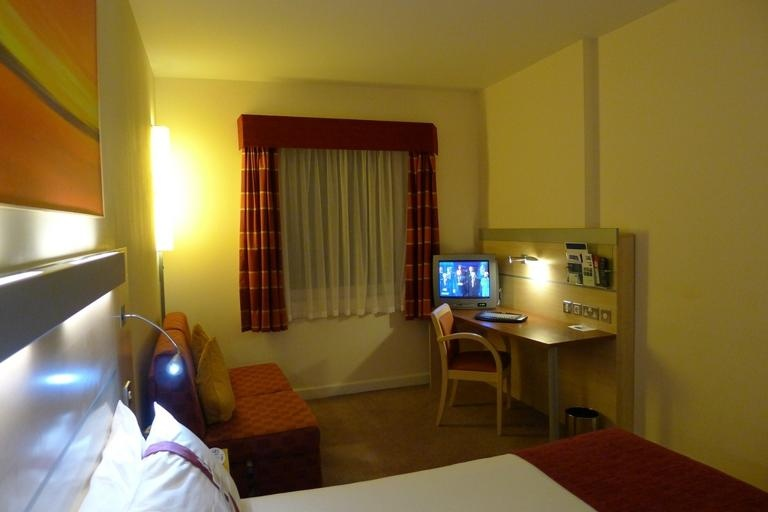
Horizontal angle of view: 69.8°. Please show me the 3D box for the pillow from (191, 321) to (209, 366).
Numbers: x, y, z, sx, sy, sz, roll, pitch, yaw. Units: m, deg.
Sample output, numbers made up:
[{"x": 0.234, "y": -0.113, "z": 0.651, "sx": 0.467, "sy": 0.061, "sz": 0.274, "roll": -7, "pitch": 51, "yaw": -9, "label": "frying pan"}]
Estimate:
[{"x": -1.400, "y": 0.647, "z": 4.171, "sx": 0.083, "sy": 0.281, "sz": 0.282, "roll": 0, "pitch": 30, "yaw": -16, "label": "pillow"}]

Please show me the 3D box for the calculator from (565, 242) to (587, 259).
[{"x": 1.601, "y": -0.046, "z": 4.615, "sx": 0.113, "sy": 0.155, "sz": 0.213, "roll": -4, "pitch": 7, "yaw": -14, "label": "calculator"}]

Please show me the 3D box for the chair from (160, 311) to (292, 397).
[{"x": -1.294, "y": 0.836, "z": 4.526, "sx": 0.697, "sy": 0.698, "sz": 0.974, "roll": -6, "pitch": 6, "yaw": -14, "label": "chair"}]

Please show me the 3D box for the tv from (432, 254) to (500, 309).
[{"x": 0.842, "y": 0.248, "z": 5.742, "sx": 0.833, "sy": 0.732, "sz": 0.469, "roll": -1, "pitch": -1, "yaw": 9, "label": "tv"}]

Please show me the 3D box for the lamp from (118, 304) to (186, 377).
[{"x": -1.506, "y": 0.562, "z": 3.578, "sx": 0.431, "sy": 0.698, "sz": 0.147, "roll": -1, "pitch": 36, "yaw": -11, "label": "lamp"}]

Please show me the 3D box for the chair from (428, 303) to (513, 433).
[{"x": 0.820, "y": 1.004, "z": 5.013, "sx": 0.670, "sy": 1.014, "sz": 0.639, "roll": -1, "pitch": 4, "yaw": 14, "label": "chair"}]

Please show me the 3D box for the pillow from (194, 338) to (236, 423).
[{"x": -1.209, "y": 0.898, "z": 3.912, "sx": 0.160, "sy": 0.214, "sz": 0.486, "roll": -7, "pitch": 33, "yaw": -15, "label": "pillow"}]

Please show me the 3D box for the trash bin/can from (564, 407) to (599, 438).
[{"x": 1.575, "y": 1.342, "z": 4.448, "sx": 0.184, "sy": 0.216, "sz": 0.242, "roll": 0, "pitch": -4, "yaw": -13, "label": "trash bin/can"}]
